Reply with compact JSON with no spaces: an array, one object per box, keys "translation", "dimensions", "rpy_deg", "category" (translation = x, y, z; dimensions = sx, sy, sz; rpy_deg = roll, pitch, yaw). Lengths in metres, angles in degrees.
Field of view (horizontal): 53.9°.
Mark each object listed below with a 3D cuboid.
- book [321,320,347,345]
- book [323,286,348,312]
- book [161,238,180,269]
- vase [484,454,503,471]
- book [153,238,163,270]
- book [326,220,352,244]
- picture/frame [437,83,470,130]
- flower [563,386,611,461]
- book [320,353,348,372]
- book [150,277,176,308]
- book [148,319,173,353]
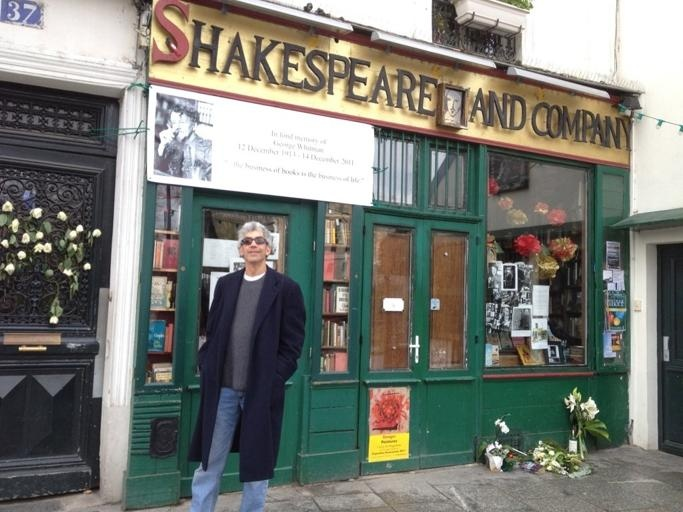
[{"translation":[-0.078,0.850,7.540],"dimensions":[0.270,0.299,0.076],"rpy_deg":[0,7,-14],"category":"book"},{"translation":[-0.050,0.464,7.641],"dimensions":[0.237,0.351,0.343],"rpy_deg":[-1,-3,31],"category":"book"},{"translation":[-1.751,-0.038,6.877],"dimensions":[0.158,0.303,0.053],"rpy_deg":[0,7,-17],"category":"book"},{"translation":[1.783,2.390,7.842],"dimensions":[0.151,0.149,0.186],"rpy_deg":[-2,-4,7],"category":"vase"},{"translation":[-1.871,-0.033,6.832],"dimensions":[0.095,0.293,0.286],"rpy_deg":[1,-2,-5],"category":"book"},{"translation":[-0.034,-0.288,7.556],"dimensions":[0.291,0.288,0.046],"rpy_deg":[0,7,-19],"category":"book"},{"translation":[1.321,-1.821,8.060],"dimensions":[0.474,0.585,0.153],"rpy_deg":[5,-9,-30],"category":"picture/frame"},{"translation":[3.159,2.084,8.585],"dimensions":[0.651,0.816,0.314],"rpy_deg":[-1,7,-27],"category":"flower"},{"translation":[-0.084,1.160,7.499],"dimensions":[0.309,0.217,0.069],"rpy_deg":[0,7,-16],"category":"book"},{"translation":[-1.827,0.356,6.838],"dimensions":[0.274,0.395,0.043],"rpy_deg":[2,-9,-23],"category":"book"},{"translation":[-1.851,0.756,6.903],"dimensions":[0.255,0.371,0.352],"rpy_deg":[1,-3,-21],"category":"book"}]
